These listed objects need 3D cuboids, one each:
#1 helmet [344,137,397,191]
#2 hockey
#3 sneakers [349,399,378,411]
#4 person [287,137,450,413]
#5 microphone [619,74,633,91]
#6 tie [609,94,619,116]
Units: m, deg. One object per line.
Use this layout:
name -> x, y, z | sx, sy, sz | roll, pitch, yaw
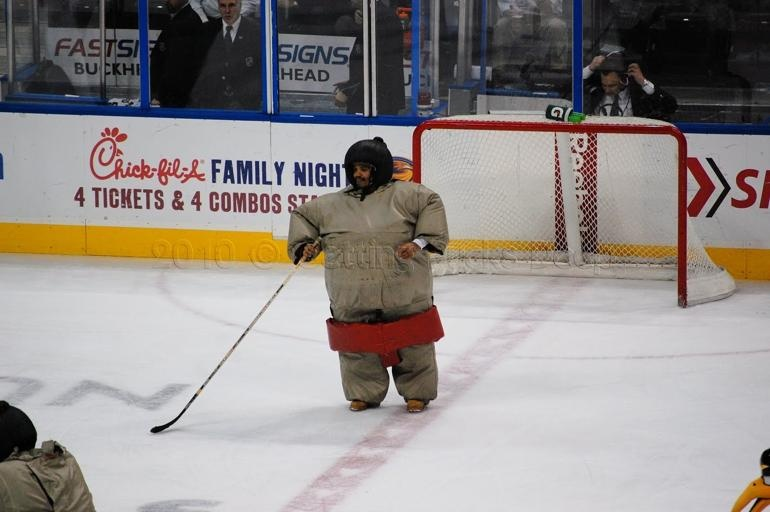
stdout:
helmet -> -0.125, -0.663, 8.855 | 0.310, 0.406, 0.408 | 5, 30, 19
hockey -> -1.186, 0.770, 8.607 | 0.332, 1.805, 0.084 | -15, 63, -49
sneakers -> -0.173, 1.116, 8.869 | 0.235, 0.108, 0.082 | 8, 5, -30
person -> -0.102, 0.144, 8.813 | 1.119, 1.983, 0.369 | 0, 12, 3
microphone -> 2.402, -1.716, 11.785 | 0.186, 0.173, 0.043 | 3, 2, 23
tie -> 2.308, -1.492, 11.865 | 0.096, 0.193, 0.017 | 2, 12, 10
